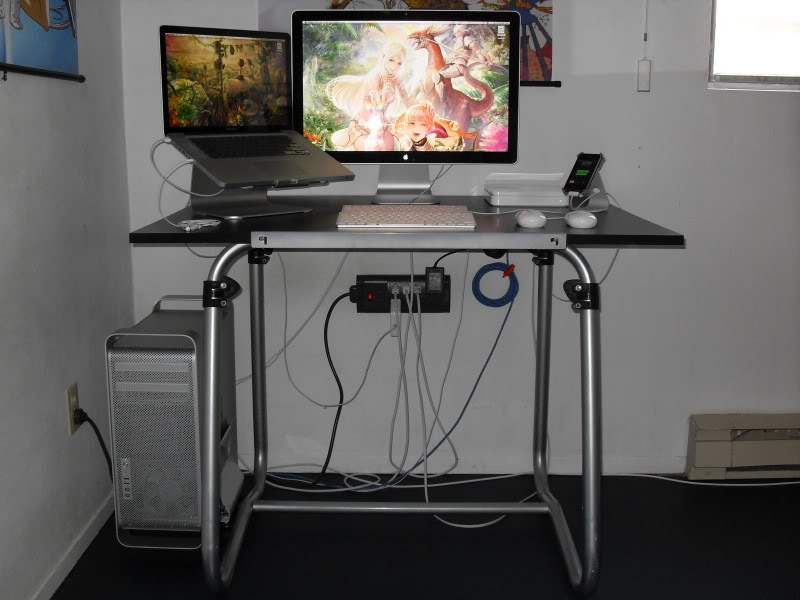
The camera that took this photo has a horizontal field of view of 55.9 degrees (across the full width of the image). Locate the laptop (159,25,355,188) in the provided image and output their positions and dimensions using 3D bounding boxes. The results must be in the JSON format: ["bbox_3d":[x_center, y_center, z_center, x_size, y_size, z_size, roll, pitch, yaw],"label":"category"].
[{"bbox_3d":[-0.429,-0.570,2.237,0.505,0.456,0.380,-5,15,-21],"label":"laptop"}]

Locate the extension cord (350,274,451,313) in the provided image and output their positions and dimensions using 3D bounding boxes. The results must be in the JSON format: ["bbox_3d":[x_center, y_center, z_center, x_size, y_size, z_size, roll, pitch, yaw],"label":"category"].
[{"bbox_3d":[-0.007,0.035,2.685,0.345,0.138,0.127,0,13,0],"label":"extension cord"}]

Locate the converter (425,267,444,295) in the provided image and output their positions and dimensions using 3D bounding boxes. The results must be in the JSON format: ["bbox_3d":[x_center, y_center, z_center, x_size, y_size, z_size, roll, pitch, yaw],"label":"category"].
[{"bbox_3d":[0.127,-0.069,2.672,0.085,0.142,0.072,0,3,0],"label":"converter"}]

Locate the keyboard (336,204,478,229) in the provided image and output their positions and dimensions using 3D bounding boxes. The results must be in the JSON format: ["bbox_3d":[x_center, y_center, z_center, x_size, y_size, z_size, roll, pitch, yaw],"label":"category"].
[{"bbox_3d":[0.014,-0.240,2.170,0.379,0.037,0.297,0,15,-3],"label":"keyboard"}]
